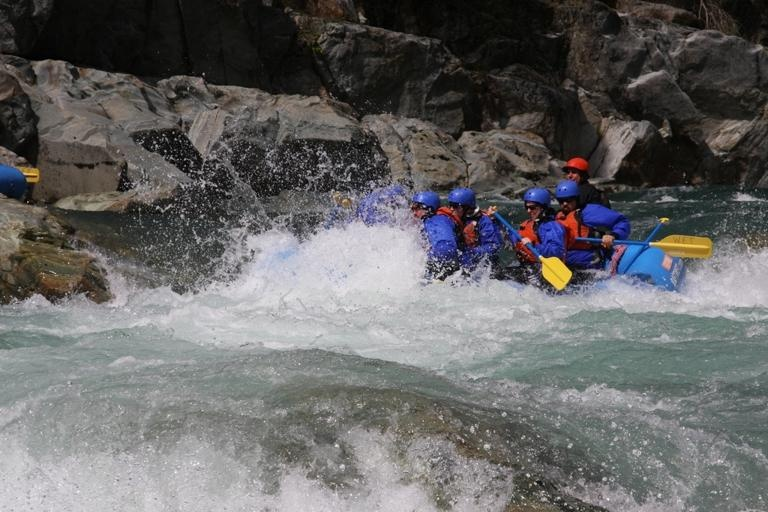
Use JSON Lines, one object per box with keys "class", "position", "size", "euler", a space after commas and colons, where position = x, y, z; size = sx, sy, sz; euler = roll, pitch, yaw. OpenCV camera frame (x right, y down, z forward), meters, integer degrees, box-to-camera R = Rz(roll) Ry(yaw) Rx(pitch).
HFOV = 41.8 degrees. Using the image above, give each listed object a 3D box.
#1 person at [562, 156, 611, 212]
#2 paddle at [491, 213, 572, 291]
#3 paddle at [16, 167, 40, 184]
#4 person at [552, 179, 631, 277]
{"class": "person", "position": [4.304, -1.318, 21.423], "size": [0.782, 1.556, 0.803], "euler": [0, -2, -40]}
{"class": "paddle", "position": [3.009, -0.064, 20.212], "size": [2.011, 0.426, 0.095], "euler": [40, -1, 33]}
{"class": "paddle", "position": [-7.412, -1.679, 20.791], "size": [0.540, 0.241, 0.524], "euler": [8, -7, -41]}
{"class": "person", "position": [4.260, -0.513, 20.771], "size": [1.226, 1.480, 2.461], "euler": [8, 40, -18]}
